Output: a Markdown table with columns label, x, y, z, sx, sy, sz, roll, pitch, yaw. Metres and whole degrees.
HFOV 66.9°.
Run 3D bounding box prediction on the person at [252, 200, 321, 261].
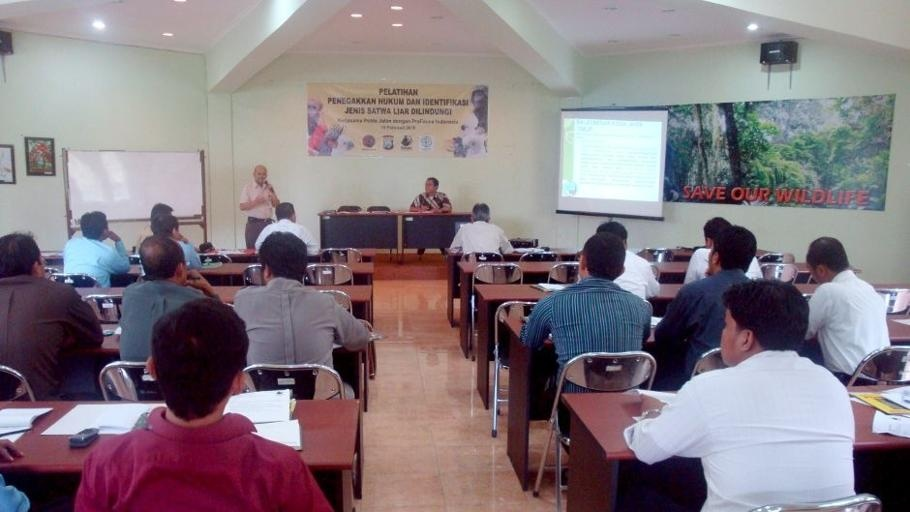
| label | x | y | z | sx | sy | sz | roll | pitch | yaw |
| --- | --- | --- | --- | --- | --- | --- | --- | --- | --- |
| person | -2.093 | -0.269 | 8.416 | 0.874 | 0.720 | 0.443 | -3 | 18 | -22 |

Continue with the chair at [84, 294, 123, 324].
| label | x | y | z | sx | sy | sz | roll | pitch | yaw |
| --- | --- | --- | --- | --- | --- | --- | --- | --- | --- |
| chair | -3.009 | 0.461 | 5.893 | 0.265 | 0.224 | 0.142 | 1 | 14 | -12 |

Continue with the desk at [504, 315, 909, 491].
| label | x | y | z | sx | sy | sz | roll | pitch | yaw |
| --- | --- | --- | --- | --- | --- | --- | --- | --- | --- |
| desk | 1.780 | 1.004 | 4.721 | 1.444 | 0.613 | 0.768 | -1 | 22 | -1 |

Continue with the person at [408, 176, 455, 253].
| label | x | y | z | sx | sy | sz | roll | pitch | yaw |
| --- | --- | --- | --- | --- | --- | --- | --- | --- | --- |
| person | -0.362 | -0.647 | 11.481 | 0.715 | 1.287 | 0.684 | -8 | -11 | 33 |

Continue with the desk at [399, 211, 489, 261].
| label | x | y | z | sx | sy | sz | roll | pitch | yaw |
| --- | --- | --- | --- | --- | --- | --- | --- | --- | --- |
| desk | -0.435 | -0.341 | 11.603 | 1.374 | 0.837 | 0.694 | -1 | 10 | -28 |

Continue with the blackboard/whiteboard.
| label | x | y | z | sx | sy | sz | roll | pitch | yaw |
| --- | --- | --- | --- | --- | --- | --- | --- | --- | --- |
| blackboard/whiteboard | -4.975 | -0.810 | 10.770 | 2.474 | 1.719 | 0.181 | 0 | 4 | 10 |

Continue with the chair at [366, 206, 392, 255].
| label | x | y | z | sx | sy | sz | roll | pitch | yaw |
| --- | --- | --- | --- | --- | --- | --- | --- | --- | --- |
| chair | -1.304 | -0.480 | 11.484 | 0.588 | 0.740 | 1.040 | -1 | 9 | -3 |

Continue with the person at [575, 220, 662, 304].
| label | x | y | z | sx | sy | sz | roll | pitch | yaw |
| --- | --- | --- | --- | --- | --- | --- | --- | --- | --- |
| person | 1.852 | -0.084 | 7.162 | 0.648 | 0.668 | 1.927 | -5 | 20 | 25 |

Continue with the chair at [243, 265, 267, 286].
| label | x | y | z | sx | sy | sz | roll | pitch | yaw |
| --- | --- | --- | --- | --- | --- | --- | --- | --- | --- |
| chair | -2.072 | 0.205 | 7.178 | 0.225 | 0.240 | 0.229 | -1 | 18 | -19 |
